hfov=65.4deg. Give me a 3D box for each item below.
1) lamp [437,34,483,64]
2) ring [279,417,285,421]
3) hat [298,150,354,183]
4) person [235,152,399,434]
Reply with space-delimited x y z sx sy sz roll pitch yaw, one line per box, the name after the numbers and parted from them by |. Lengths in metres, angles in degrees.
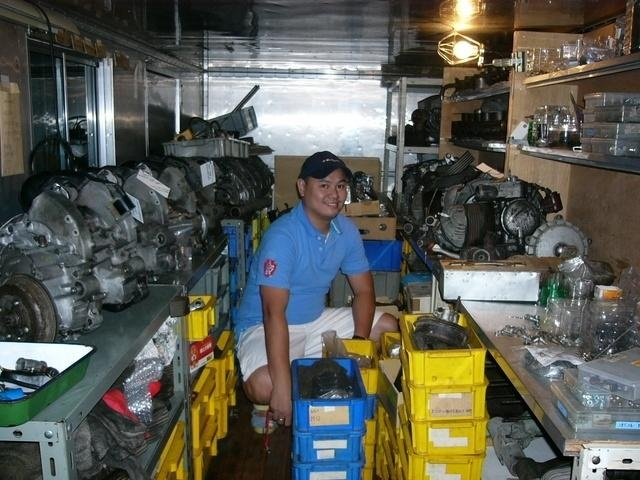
0.925 -1.267 3.336 0.299 0.222 0.194 9 48 30 | lamp
-0.206 0.985 2.749 0.022 0.017 0.019 1 1 -7 | ring
0.012 -0.443 3.050 0.183 0.141 0.251 0 -5 -28 | hat
-0.085 0.366 3.172 0.957 1.823 0.748 -9 11 -44 | person
